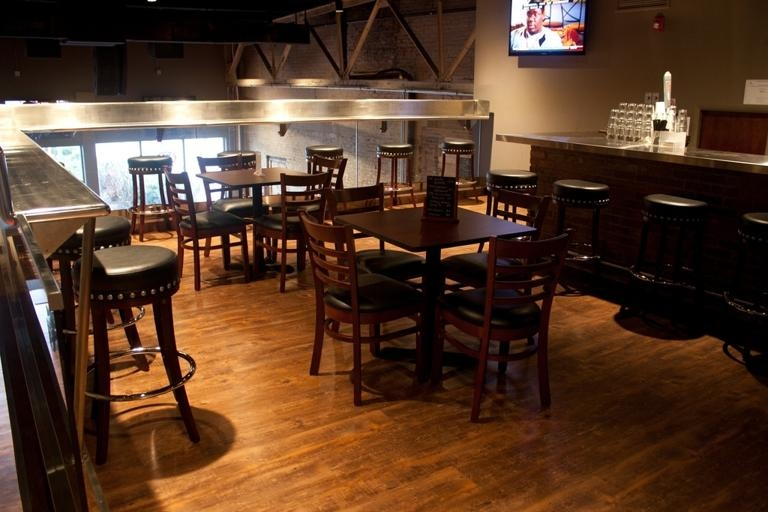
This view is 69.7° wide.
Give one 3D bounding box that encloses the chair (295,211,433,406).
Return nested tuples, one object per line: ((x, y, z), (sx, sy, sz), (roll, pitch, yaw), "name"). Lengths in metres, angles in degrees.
((-0.197, 0.232, 3.894), (0.797, 1.173, 1.188), (-6, 15, -9), "chair")

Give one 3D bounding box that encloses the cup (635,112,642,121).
((2.420, -1.322, 5.216), (0.085, 0.090, 0.054), (3, 22, 6), "cup")

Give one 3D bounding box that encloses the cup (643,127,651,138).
((2.479, -1.167, 5.176), (0.067, 0.114, 0.065), (0, 25, 0), "cup")

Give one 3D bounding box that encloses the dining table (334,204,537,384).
((0.342, 0.171, 4.298), (1.282, 1.140, 1.237), (-14, 24, -32), "dining table")

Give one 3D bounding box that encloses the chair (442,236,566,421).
((0.724, 0.344, 3.645), (0.832, 1.139, 0.972), (-2, 15, 4), "chair")

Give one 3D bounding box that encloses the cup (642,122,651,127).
((2.487, -1.244, 5.174), (0.066, 0.069, 0.029), (-6, 16, -9), "cup")

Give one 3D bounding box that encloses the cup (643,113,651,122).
((2.498, -1.316, 5.200), (0.067, 0.083, 0.091), (3, 16, 23), "cup")

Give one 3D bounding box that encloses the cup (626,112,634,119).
((2.367, -1.349, 5.265), (0.074, 0.062, 0.082), (7, 18, 33), "cup")

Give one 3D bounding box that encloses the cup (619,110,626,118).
((2.313, -1.376, 5.310), (0.044, 0.049, 0.069), (1, 15, 14), "cup")

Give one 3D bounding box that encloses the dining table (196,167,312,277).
((-1.458, -0.486, 5.769), (1.200, 1.085, 1.152), (-9, 20, -28), "dining table")
